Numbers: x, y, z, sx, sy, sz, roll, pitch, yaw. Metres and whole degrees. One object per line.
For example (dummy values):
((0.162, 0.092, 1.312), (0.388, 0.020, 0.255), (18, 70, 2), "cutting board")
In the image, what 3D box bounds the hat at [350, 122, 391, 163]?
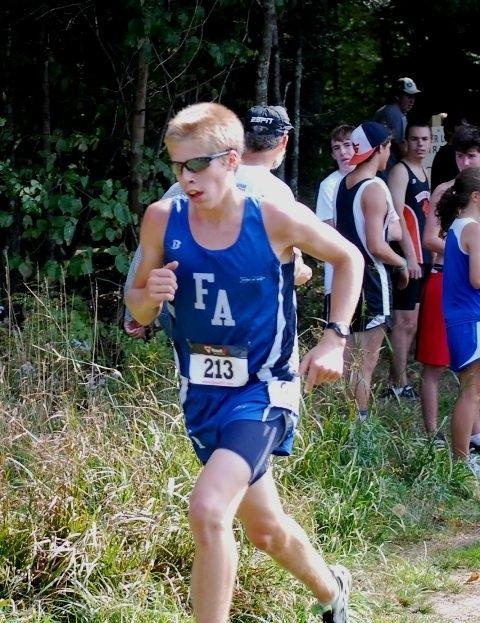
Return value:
((0.808, -1.099, 4.344), (0.148, 0.290, 0.185), (52, -13, -27), "hat")

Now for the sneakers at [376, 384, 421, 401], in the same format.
((1.295, 0.657, 5.485), (0.363, 0.140, 0.129), (0, 5, 9), "sneakers")

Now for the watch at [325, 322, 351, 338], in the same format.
((0.301, 0.052, 2.053), (0.054, 0.051, 0.050), (15, -19, 6), "watch")
